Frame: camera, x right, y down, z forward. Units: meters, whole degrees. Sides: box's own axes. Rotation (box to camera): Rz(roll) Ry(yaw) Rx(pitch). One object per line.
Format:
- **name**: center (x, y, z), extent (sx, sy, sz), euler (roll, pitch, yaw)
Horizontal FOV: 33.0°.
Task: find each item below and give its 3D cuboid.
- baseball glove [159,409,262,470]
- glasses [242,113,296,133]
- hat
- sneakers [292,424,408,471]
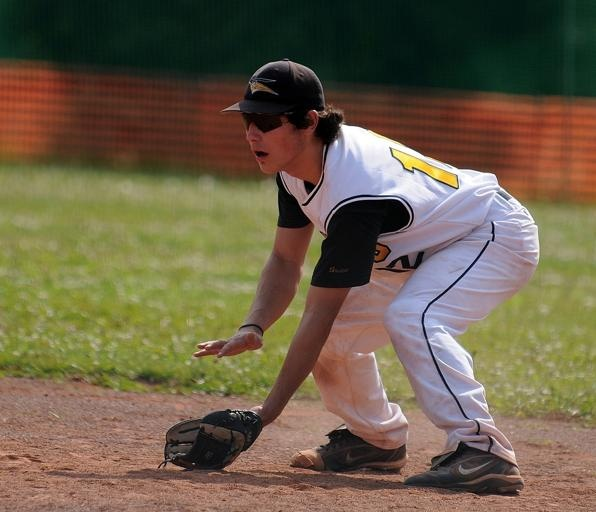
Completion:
- **baseball glove**: center (-0.504, 0.993, 5.525), extent (0.342, 0.179, 0.435), euler (10, 37, 45)
- **glasses**: center (-0.185, -0.743, 5.575), extent (0.286, 0.112, 0.142), euler (7, 5, 37)
- **hat**: center (-0.136, -0.952, 5.623), extent (0.595, 0.223, 0.390), euler (-10, 24, -25)
- **sneakers**: center (0.312, 1.166, 6.018), extent (0.773, 0.232, 0.214), euler (6, -6, -26)
